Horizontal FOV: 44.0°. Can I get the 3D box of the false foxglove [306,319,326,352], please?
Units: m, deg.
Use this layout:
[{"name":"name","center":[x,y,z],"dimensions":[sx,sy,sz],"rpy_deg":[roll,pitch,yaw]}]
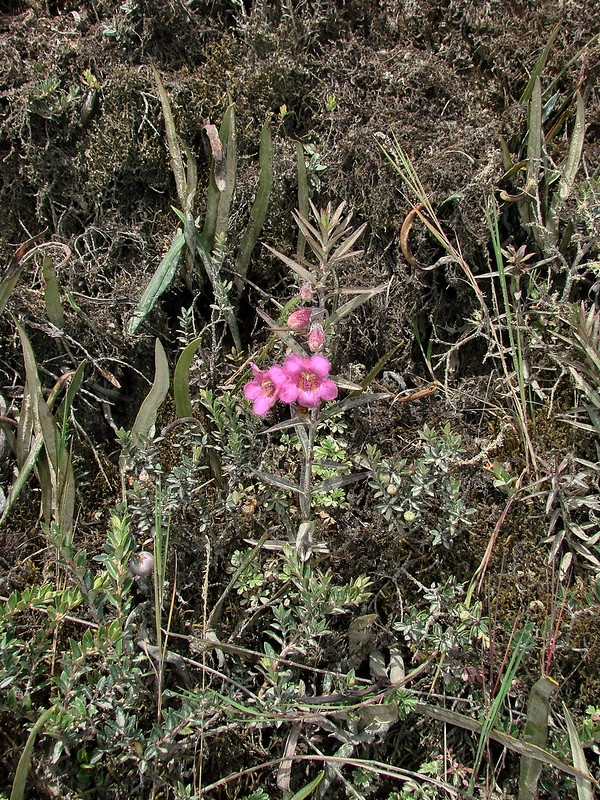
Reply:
[{"name":"false foxglove","center":[0.044,-0.182,2.029],"dimensions":[0.050,0.050,0.129],"rpy_deg":[1,60,2]}]
